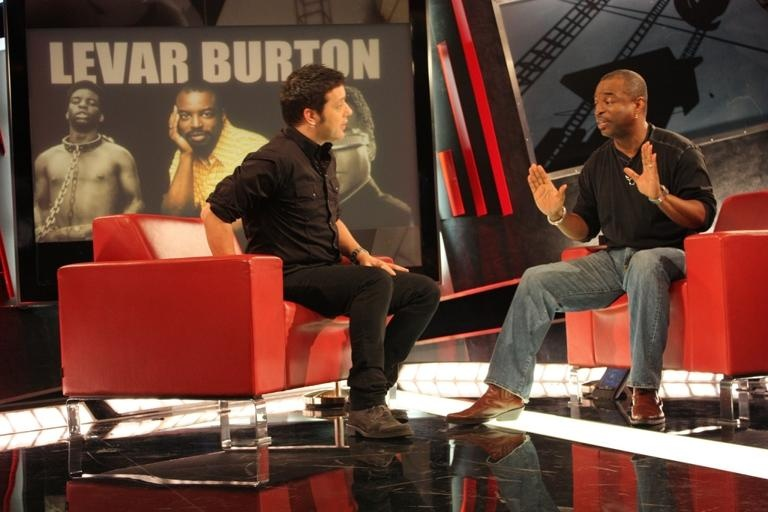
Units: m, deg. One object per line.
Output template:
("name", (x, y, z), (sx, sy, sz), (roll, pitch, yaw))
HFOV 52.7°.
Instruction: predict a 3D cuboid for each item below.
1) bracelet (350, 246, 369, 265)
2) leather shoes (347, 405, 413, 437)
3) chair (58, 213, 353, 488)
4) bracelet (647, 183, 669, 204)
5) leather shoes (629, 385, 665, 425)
("bracelet", (-0.143, -0.004, 4.031), (0.082, 0.081, 0.089), (10, -1, -32))
("leather shoes", (-0.031, 0.770, 3.632), (0.304, 0.134, 0.132), (-1, -2, 28))
("chair", (-0.815, 0.443, 4.041), (1.054, 1.207, 1.380), (-4, -3, 20))
("bracelet", (1.339, -0.307, 3.793), (0.104, 0.090, 0.092), (3, 4, 18))
("leather shoes", (1.262, 0.744, 3.751), (0.099, 0.145, 0.247), (-4, -18, 16))
